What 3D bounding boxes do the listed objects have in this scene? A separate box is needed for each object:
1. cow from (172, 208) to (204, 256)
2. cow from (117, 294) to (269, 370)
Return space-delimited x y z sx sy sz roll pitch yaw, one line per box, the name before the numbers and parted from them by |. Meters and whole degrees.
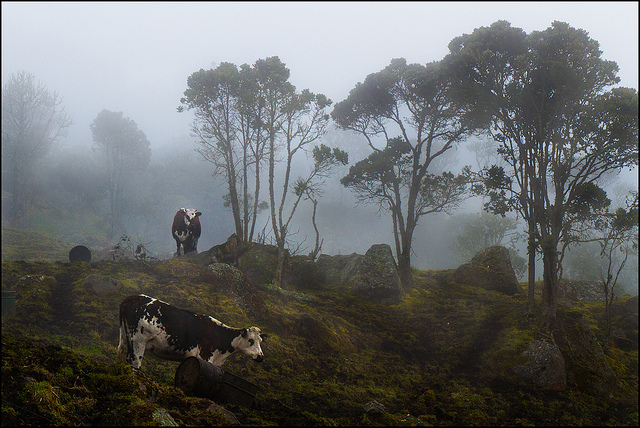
cow | -9.895 1.319 35.995 1.806 3.515 1.597 5 -8 -13
cow | -6.334 6.551 23.551 6.699 3.735 2.060 16 -16 -8
